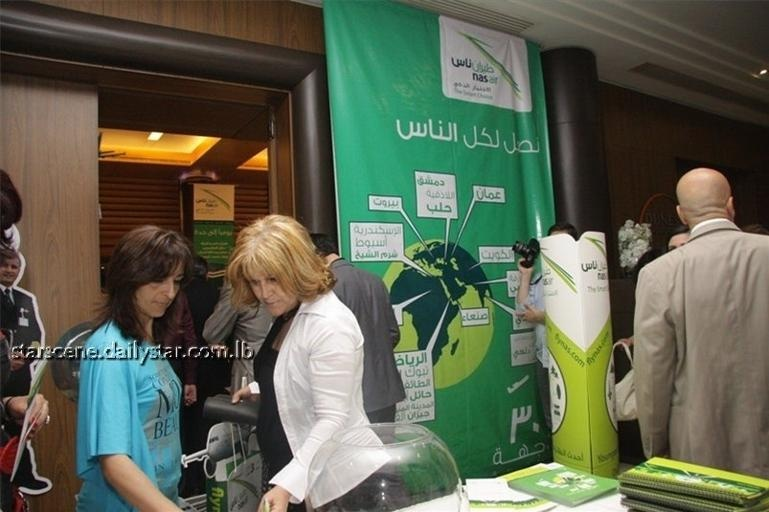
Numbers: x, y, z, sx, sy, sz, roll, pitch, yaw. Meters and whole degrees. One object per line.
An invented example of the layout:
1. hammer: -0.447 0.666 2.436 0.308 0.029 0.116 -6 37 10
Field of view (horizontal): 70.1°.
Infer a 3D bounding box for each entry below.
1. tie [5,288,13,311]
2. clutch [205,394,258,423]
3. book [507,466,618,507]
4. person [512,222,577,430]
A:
1. tie: -2.351 0.276 3.437 0.030 0.142 0.041 -6 -8 -19
2. clutch: -0.758 0.774 2.743 0.164 0.059 0.164 7 -2 -5
3. book: 0.746 0.964 2.292 0.199 0.028 0.181 -4 1 -40
4. person: 1.242 0.690 4.598 0.229 1.590 0.541 -3 -5 13
